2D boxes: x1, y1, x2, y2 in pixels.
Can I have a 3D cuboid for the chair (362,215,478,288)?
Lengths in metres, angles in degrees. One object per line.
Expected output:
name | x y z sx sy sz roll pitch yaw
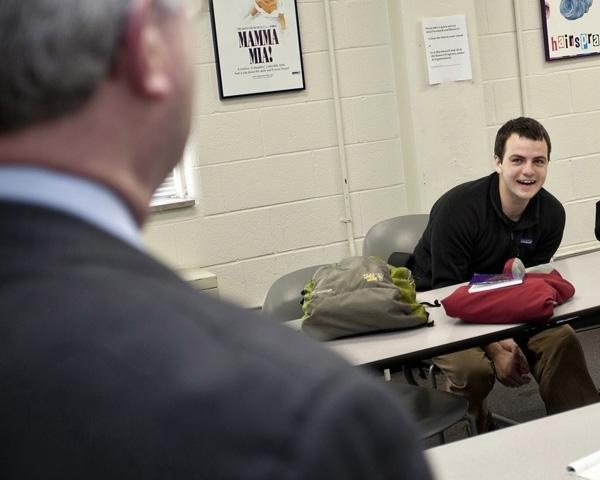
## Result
chair | 0.532 0.002 2.426 0.294 0.427 0.320 -6 11 -9

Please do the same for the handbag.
handbag | 0.694 0.189 1.663 0.264 0.099 0.254 -8 9 -4
